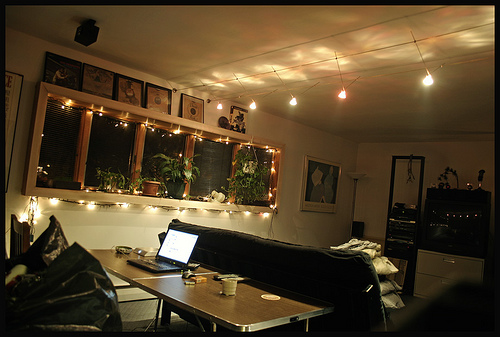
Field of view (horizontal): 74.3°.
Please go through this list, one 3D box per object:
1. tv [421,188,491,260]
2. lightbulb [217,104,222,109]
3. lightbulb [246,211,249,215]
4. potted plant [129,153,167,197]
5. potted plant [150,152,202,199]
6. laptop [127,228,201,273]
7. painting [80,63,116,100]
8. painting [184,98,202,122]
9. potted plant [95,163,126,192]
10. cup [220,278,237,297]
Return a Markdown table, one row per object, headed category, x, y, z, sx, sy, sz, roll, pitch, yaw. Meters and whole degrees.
| category | x | y | z | sx | sy | sz | roll | pitch | yaw |
| --- | --- | --- | --- | --- | --- | --- | --- | --- | --- |
| tv | 3.695 | 0.951 | 5.942 | 0.998 | 1.160 | 0.229 | 2 | -5 | 36 |
| lightbulb | -0.482 | -0.960 | 5.119 | 0.072 | 0.071 | 0.069 | 2 | -10 | 7 |
| lightbulb | -0.053 | 0.803 | 5.935 | 0.037 | 0.065 | 0.064 | 4 | -4 | 13 |
| potted plant | -1.409 | 0.115 | 5.020 | 0.568 | 0.619 | 0.572 | 10 | -2 | 34 |
| potted plant | -1.201 | 0.088 | 5.251 | 0.724 | 0.582 | 0.715 | -11 | -16 | 39 |
| laptop | -0.822 | 0.757 | 3.067 | 0.499 | 0.291 | 0.548 | 3 | -2 | -40 |
| painting | -2.047 | -1.148 | 4.372 | 0.567 | 0.481 | 0.058 | 8 | -14 | -43 |
| painting | -0.921 | -0.911 | 5.184 | 0.020 | 0.415 | 0.423 | -4 | -8 | 44 |
| potted plant | -1.957 | 0.125 | 4.525 | 0.392 | 0.367 | 0.378 | 4 | -2 | 33 |
| cup | -0.164 | 0.879 | 2.418 | 0.099 | 0.085 | 0.119 | 1 | -13 | 6 |
